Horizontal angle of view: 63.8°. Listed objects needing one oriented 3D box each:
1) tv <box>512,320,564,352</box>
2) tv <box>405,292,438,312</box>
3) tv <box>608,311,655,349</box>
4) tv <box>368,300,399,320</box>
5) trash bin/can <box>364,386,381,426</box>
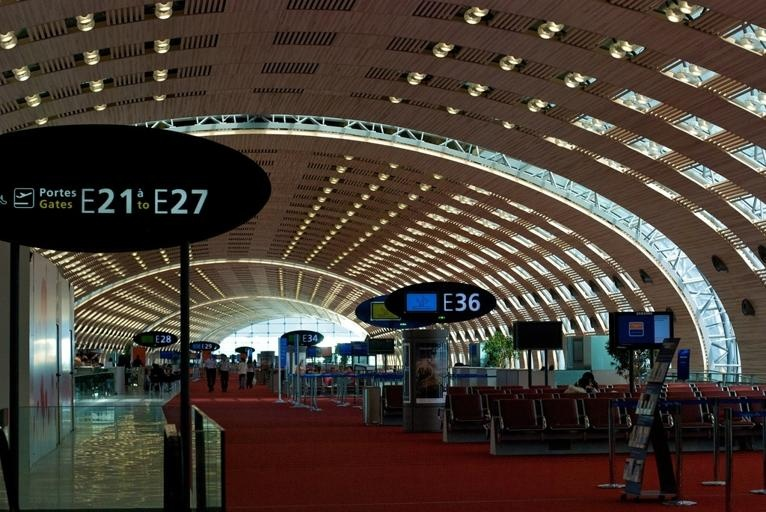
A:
[{"bbox_3d":[5.565,2.832,22.239,2.660,1.156,1.116,0,-7,-6],"label":"tv"},{"bbox_3d":[1.137,1.396,18.723,0.874,0.409,0.078,0,-12,-3],"label":"tv"},{"bbox_3d":[7.134,2.132,17.838,1.781,1.064,0.537,4,-7,-27],"label":"tv"},{"bbox_3d":[0.030,1.945,22.193,1.648,0.771,0.136,0,-5,-7],"label":"tv"},{"bbox_3d":[-0.342,5.045,20.658,0.742,1.245,0.476,-10,-11,3],"label":"trash bin/can"}]
